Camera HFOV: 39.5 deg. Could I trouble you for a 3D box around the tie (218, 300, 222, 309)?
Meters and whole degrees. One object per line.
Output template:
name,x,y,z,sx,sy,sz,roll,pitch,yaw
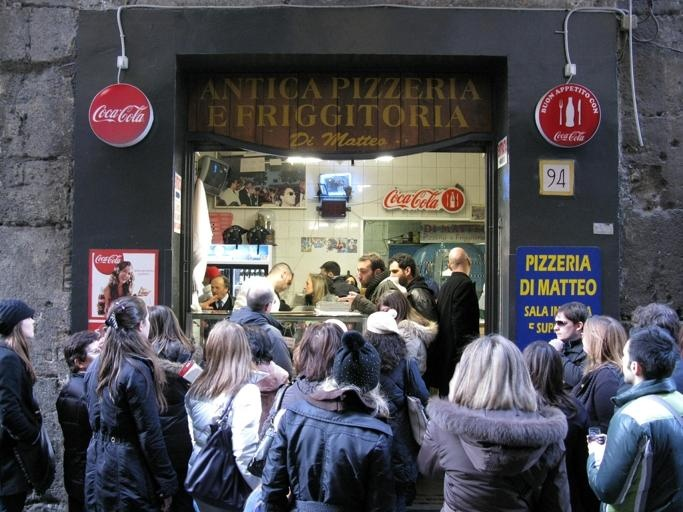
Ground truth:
tie,-1.299,0.535,10.294,0.047,0.072,0.018,2,-10,2

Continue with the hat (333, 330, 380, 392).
hat,0.119,0.680,6.253,0.277,0.371,0.387,0,12,5

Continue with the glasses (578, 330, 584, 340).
glasses,1.937,0.643,7.660,0.040,0.050,0.055,2,9,27

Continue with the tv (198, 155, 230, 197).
tv,-1.574,-0.900,11.102,0.276,0.472,0.539,4,-3,4

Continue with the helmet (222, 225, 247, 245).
helmet,-1.334,-0.259,11.942,0.214,0.267,0.189,6,7,-3

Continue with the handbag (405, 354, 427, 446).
handbag,0.566,1.115,7.208,0.175,0.661,0.112,0,-3,0

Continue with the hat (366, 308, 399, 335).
hat,0.320,0.513,7.277,0.222,0.178,0.180,11,0,8

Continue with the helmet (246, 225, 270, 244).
helmet,-1.029,-0.270,12.190,0.213,0.254,0.372,-1,-3,38

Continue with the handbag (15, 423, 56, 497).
handbag,-2.353,1.595,7.398,0.156,0.550,0.331,-1,-3,35

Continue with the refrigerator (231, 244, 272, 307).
refrigerator,-0.998,0.222,10.325,0.489,0.970,0.467,2,-16,-5
